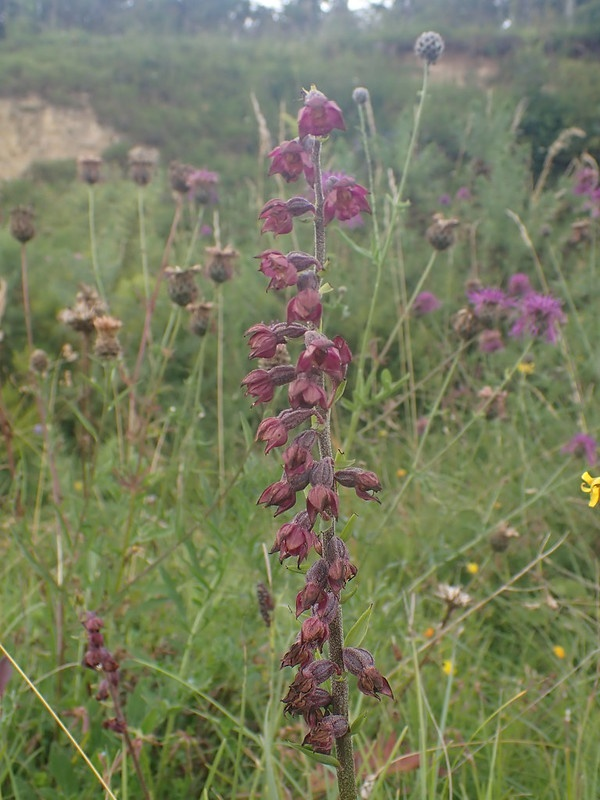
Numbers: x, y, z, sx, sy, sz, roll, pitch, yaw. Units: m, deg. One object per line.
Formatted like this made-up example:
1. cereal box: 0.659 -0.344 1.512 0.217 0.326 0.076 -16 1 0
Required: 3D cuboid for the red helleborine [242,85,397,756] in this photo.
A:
1. red helleborine: 0.054 0.250 2.844 0.375 1.792 0.944 0 31 -3
